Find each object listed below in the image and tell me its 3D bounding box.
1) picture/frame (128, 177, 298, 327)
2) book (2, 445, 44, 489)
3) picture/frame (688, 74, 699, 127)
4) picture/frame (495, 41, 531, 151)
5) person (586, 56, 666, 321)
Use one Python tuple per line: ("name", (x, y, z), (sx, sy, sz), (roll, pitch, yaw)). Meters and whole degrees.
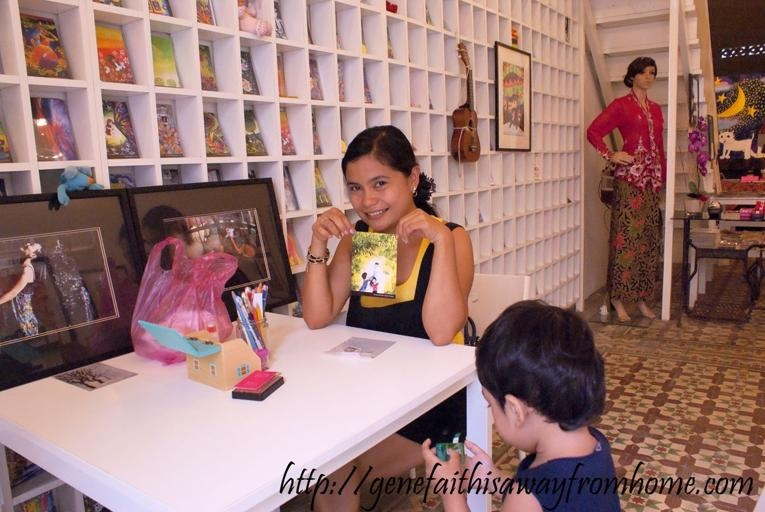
("picture/frame", (-0.680, -0.021, 1.939), (0.021, 0.494, 0.586), (-13, 0, 38))
("book", (-1.252, 0.724, 1.725), (0.031, 0.127, 0.135), (-15, -17, 20))
("picture/frame", (3.377, -1.693, 5.411), (0.064, 0.675, 0.380), (0, 30, 33))
("picture/frame", (1.022, -1.271, 3.948), (0.066, 1.011, 0.885), (2, 6, 36))
("person", (2.301, -0.602, 4.678), (0.661, 2.381, 0.807), (7, 17, 29))
